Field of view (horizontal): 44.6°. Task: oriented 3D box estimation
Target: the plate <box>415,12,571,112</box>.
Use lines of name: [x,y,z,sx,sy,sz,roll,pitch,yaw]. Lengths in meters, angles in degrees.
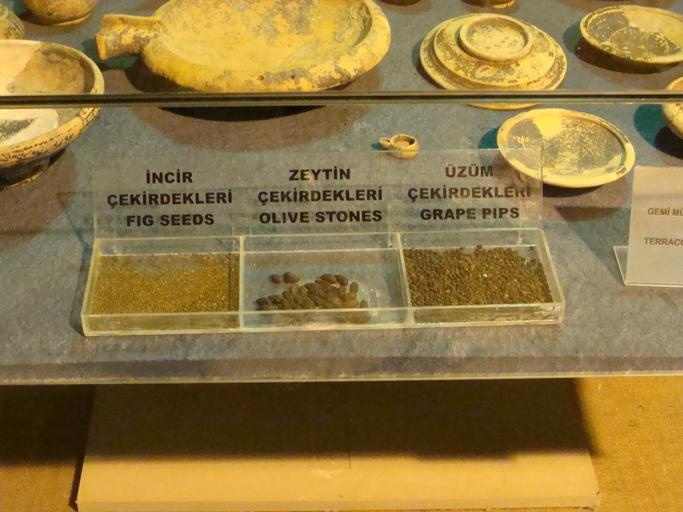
plate: [0.310,-0.419,1.701,0.298,0.312,0.060,15,77,13]
